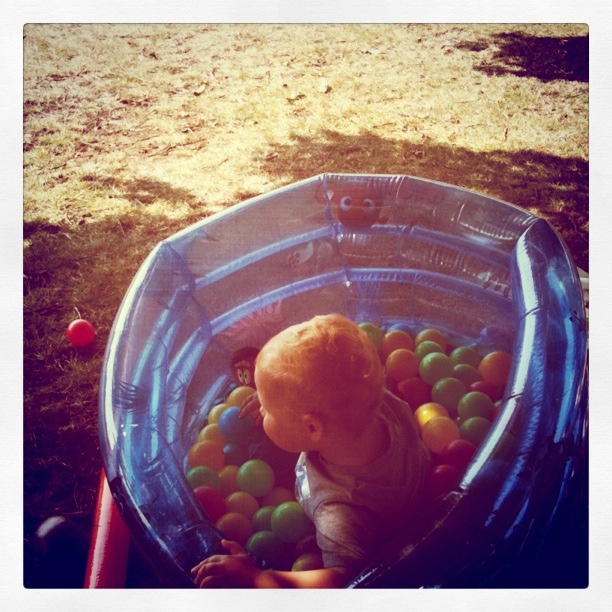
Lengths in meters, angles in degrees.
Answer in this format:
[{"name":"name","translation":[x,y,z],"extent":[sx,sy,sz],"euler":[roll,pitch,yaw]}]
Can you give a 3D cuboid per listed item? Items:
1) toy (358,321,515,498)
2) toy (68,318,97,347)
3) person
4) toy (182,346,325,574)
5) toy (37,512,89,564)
[{"name":"toy","translation":[0.389,0.243,1.916],"extent":[0.414,0.167,0.386],"euler":[-25,34,-33]},{"name":"toy","translation":[-0.643,0.077,1.947],"extent":[0.073,0.043,0.071],"euler":[-37,61,-25]},{"name":"person","translation":[0.059,0.343,1.829],"extent":[0.460,0.663,0.935],"euler":[0,34,13]},{"name":"toy","translation":[-0.139,0.404,1.771],"extent":[0.399,0.130,0.403],"euler":[21,52,14]},{"name":"toy","translation":[-0.669,0.620,1.861],"extent":[0.146,0.075,0.085],"euler":[2,52,2]}]
